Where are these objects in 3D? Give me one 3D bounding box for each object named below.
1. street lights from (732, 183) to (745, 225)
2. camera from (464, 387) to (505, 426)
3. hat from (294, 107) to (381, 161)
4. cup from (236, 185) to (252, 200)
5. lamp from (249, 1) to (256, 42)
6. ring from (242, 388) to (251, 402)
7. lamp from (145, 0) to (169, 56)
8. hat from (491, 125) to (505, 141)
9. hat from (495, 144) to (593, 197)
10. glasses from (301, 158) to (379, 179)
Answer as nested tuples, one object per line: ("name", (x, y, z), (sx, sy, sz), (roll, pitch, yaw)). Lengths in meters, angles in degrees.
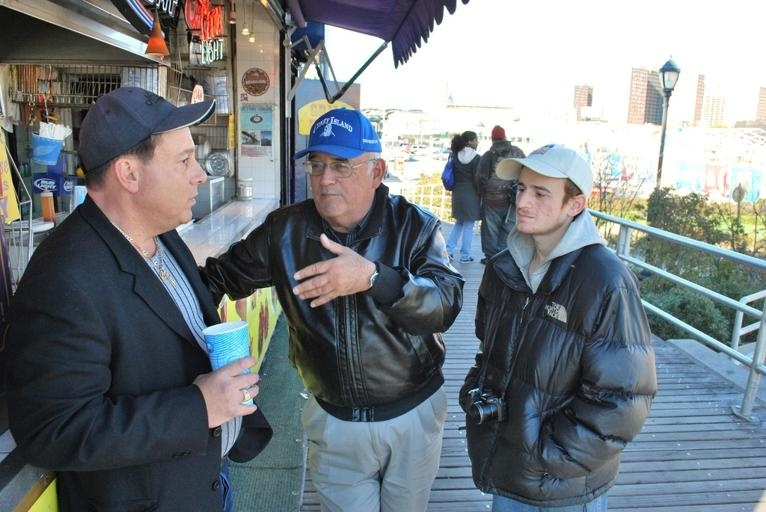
("street lights", (10.783, -1.554, 16.248), (0.334, 1.099, 0.813), (8, 15, 31))
("camera", (0.511, 0.714, 2.603), (0.167, 0.124, 0.207), (-15, 11, 0))
("hat", (-0.216, -0.556, 2.560), (0.331, 0.190, 0.238), (-2, 8, -38))
("cup", (-2.159, -1.003, 8.280), (0.202, 0.223, 0.201), (1, 7, 0))
("lamp", (-2.020, -3.560, 8.180), (0.091, 0.551, 0.080), (-3, 13, -14))
("ring", (-0.520, 0.525, 2.036), (0.035, 0.044, 0.042), (-1, 8, -43))
("lamp", (-1.863, -1.846, 4.361), (0.161, 0.414, 0.509), (-5, 14, -23))
("hat", (1.690, -1.797, 7.836), (0.180, 0.190, 0.242), (-3, 9, 9))
("hat", (0.826, -0.391, 2.701), (0.387, 0.205, 0.292), (22, 3, -10))
("glasses", (-0.205, -0.424, 2.550), (0.341, 0.085, 0.117), (0, 13, -5))
